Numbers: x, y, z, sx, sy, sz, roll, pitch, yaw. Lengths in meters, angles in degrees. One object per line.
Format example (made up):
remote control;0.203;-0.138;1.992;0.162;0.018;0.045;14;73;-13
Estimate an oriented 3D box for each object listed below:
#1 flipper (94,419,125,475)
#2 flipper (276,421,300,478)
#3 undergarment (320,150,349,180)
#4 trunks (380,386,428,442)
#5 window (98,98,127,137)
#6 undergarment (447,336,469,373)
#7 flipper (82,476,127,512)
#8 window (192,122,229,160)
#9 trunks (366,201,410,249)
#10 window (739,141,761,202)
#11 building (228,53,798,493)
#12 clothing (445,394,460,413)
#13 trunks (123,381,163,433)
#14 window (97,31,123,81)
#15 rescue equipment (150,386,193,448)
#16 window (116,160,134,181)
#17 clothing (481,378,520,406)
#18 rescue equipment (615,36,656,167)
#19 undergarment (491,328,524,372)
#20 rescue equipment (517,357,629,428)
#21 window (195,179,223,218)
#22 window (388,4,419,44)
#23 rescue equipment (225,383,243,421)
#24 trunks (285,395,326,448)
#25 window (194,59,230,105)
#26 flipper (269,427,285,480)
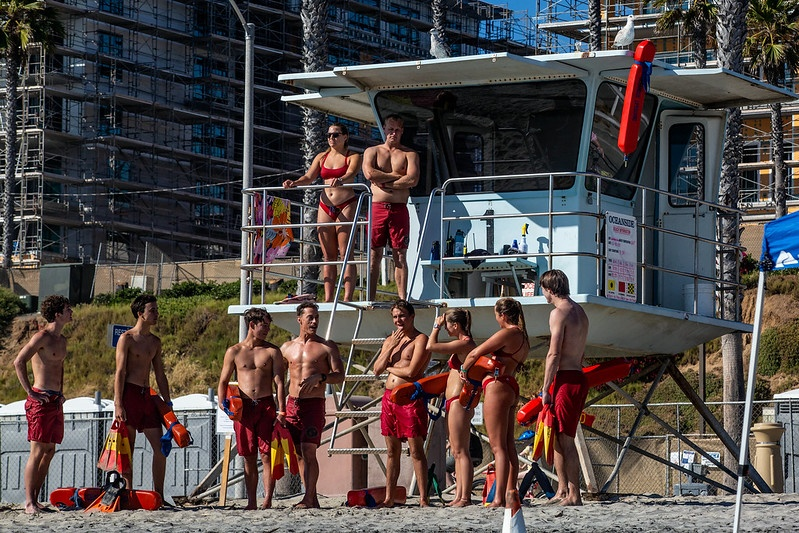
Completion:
flipper;-7.548;4.783;48.011;0.807;1.397;0.340;-1;-4;1
flipper;-3.056;4.727;47.518;0.695;1.840;0.220;-7;27;2
undergarment;-1.774;-2.771;50.036;0.892;0.774;0.223;-3;-5;21
trunks;0.191;4.088;47.613;1.641;1.708;1.050;-2;-9;20
window;-15.735;-8.154;98.358;1.306;2.092;1.316;3;15;1
undergarment;1.431;2.352;47.076;0.492;0.823;0.843;-2;-28;15
flipper;-7.687;6.102;47.711;0.672;1.175;0.385;20;-19;25
window;-11.044;-7.260;104.044;1.869;1.951;1.308;2;-1;33
trunks;-0.280;-1.086;49.683;1.507;1.703;1.046;1;-3;-1
window;18.442;-4.887;95.534;0.962;3.551;0.315;-1;28;10
building;5.257;-0.216;53.575;11.634;9.867;12.460;-1;-3;32
clothing;1.320;3.557;47.141;0.107;0.404;0.411;17;7;-7
trunks;-6.853;3.763;48.095;1.223;1.289;0.689;2;-8;-41
window;-15.865;-11.323;98.920;0.104;3.164;2.247;-9;-15;30
rescue equipment;-6.036;4.089;48.437;0.413;1.572;1.024;6;-49;-46
window;-15.016;-5.157;98.707;0.547;1.017;1.019;-6;-8;33
clothing;2.628;3.284;46.964;0.726;0.660;0.812;6;-10;-4
rescue equipment;6.458;-4.622;49.604;0.999;3.039;0.741;-1;-4;6
undergarment;2.788;2.201;46.518;0.731;1.080;1.137;-2;31;6
rescue equipment;5.049;3.615;51.293;3.870;1.032;0.784;-43;28;-17
window;-10.840;-3.772;102.423;0.124;2.218;2.118;1;0;37
window;0.169;-15.217;115.276;1.413;2.601;2.625;-11;-13;37
rescue equipment;-4.359;3.597;47.732;0.296;0.539;0.859;5;24;-6
trunks;-2.502;4.250;47.987;1.117;1.606;0.913;-16;-34;21
window;-11.189;-10.752;104.188;1.500;1.995;1.189;4;2;9
flipper;-3.185;4.845;47.542;0.372;1.401;0.227;0;-4;-14
